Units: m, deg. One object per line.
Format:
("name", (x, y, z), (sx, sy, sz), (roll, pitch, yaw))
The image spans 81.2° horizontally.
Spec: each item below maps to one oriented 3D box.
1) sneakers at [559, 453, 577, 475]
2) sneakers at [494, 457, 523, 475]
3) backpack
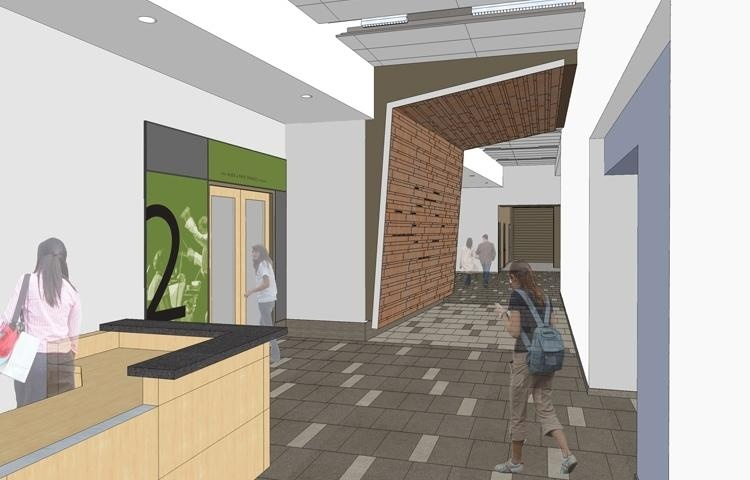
("sneakers", (1.806, 2.050, 4.018), (0.106, 0.111, 0.255), (-10, -36, -11))
("sneakers", (1.280, 2.168, 4.219), (0.294, 0.116, 0.104), (1, -2, 5))
("backpack", (1.513, 0.854, 4.011), (0.380, 0.817, 0.206), (-4, -3, 3))
